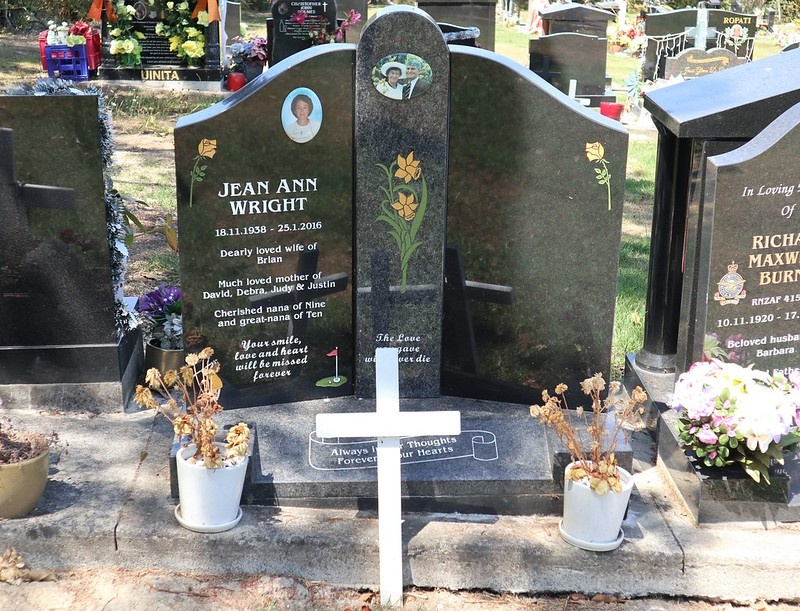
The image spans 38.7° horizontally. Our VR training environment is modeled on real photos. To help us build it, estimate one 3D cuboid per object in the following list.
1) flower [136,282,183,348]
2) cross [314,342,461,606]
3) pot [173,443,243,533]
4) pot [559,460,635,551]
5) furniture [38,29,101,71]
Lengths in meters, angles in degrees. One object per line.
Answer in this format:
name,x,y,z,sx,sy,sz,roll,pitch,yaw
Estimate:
flower,-1.774,0.094,8.392,0.344,0.335,0.336,-12,42,3
cross,-0.061,1.019,6.871,0.566,1.486,0.622,15,24,40
pot,-1.216,1.124,7.114,0.469,0.410,0.501,8,11,-2
pot,1.188,1.228,7.052,0.437,0.378,0.471,2,19,-1
furniture,-4.810,-3.727,16.582,0.858,0.624,0.748,-5,18,-13
